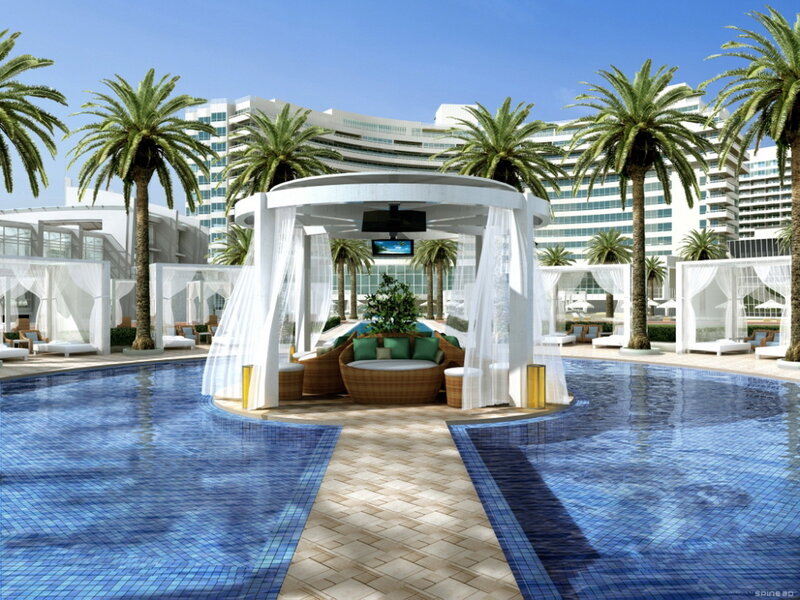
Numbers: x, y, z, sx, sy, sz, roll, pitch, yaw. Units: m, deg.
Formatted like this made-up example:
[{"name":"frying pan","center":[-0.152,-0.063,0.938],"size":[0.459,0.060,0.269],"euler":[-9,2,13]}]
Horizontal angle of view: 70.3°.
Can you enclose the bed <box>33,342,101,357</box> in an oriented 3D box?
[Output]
[{"name":"bed","center":[-12.330,1.812,20.978],"size":[2.021,0.471,1.088],"euler":[0,0,26]}]

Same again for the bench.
[{"name":"bench","center":[-0.233,1.414,11.742],"size":[3.093,1.264,1.843],"euler":[0,0,4]}]

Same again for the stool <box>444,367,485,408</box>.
[{"name":"stool","center":[1.238,1.721,10.889],"size":[0.735,0.647,0.733],"euler":[-5,-11,37]}]

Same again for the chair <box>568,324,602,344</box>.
[{"name":"chair","center":[9.477,1.678,28.879],"size":[1.890,1.033,0.988],"euler":[-2,-6,27]}]

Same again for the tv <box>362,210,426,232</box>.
[{"name":"tv","center":[-0.115,-1.714,12.299],"size":[1.330,0.489,0.862],"euler":[0,0,4]}]

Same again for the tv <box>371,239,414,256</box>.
[{"name":"tv","center":[-0.147,-1.158,12.767],"size":[0.906,0.433,0.577],"euler":[0,0,-7]}]
